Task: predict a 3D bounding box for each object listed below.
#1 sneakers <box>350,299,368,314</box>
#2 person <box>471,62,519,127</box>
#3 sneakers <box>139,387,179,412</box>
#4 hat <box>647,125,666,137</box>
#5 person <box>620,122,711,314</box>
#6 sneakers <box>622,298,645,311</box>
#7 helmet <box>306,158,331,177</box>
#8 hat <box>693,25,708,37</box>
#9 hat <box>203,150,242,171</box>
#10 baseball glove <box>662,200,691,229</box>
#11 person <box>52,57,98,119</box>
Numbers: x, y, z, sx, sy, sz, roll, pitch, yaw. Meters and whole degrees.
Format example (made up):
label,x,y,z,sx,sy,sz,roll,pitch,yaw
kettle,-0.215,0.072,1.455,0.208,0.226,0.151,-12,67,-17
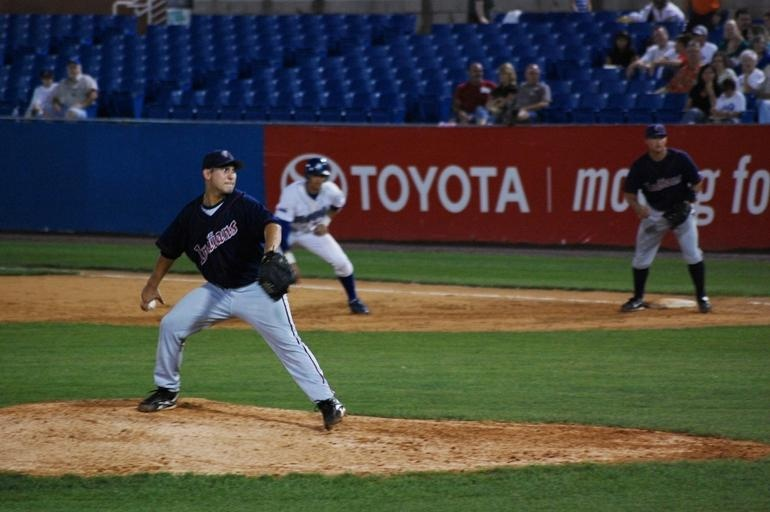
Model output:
label,x,y,z,sx,sy,sz,roll,pitch,yaw
sneakers,-0.420,0.809,20.602,0.381,0.198,0.170,2,23,13
person,2.063,-2.992,24.106,0.755,1.121,0.671,-1,4,6
sneakers,-2.992,1.938,17.310,0.652,0.249,0.241,-7,32,-21
hat,4.133,-1.893,19.842,0.290,0.218,0.270,-1,4,16
person,4.302,-0.556,20.097,1.311,2.923,0.626,-1,4,10
sneakers,3.901,0.777,20.429,0.430,0.137,0.158,-3,9,-16
helmet,-1.084,-1.345,19.945,0.340,0.192,0.435,-9,15,-34
hat,5.942,-4.251,24.534,0.323,0.145,0.432,13,27,23
hat,-2.212,-1.271,17.065,0.505,0.177,0.335,-7,0,19
baseball glove,4.483,-0.632,19.959,0.428,0.416,0.139,-1,4,11
person,-6.270,-3.345,26.148,0.927,1.199,1.439,-3,4,-13
